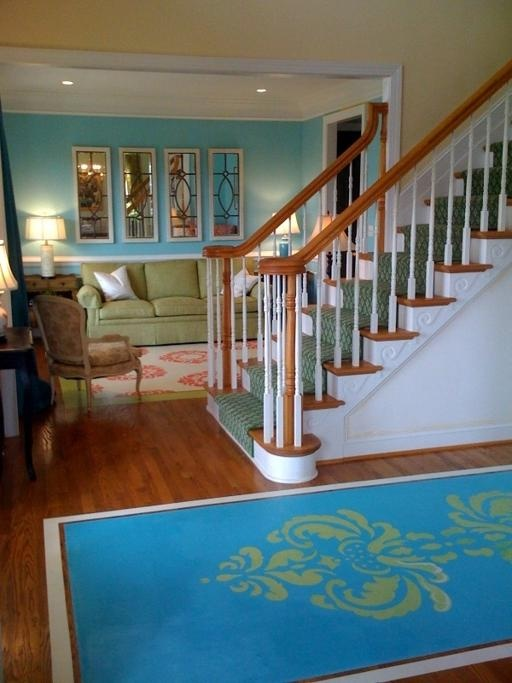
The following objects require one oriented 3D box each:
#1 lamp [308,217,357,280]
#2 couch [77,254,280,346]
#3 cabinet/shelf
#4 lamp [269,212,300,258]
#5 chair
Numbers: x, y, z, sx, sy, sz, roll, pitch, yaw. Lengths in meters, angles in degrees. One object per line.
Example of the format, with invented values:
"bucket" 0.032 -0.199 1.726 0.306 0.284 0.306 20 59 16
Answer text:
"lamp" 0.823 -1.022 6.441 0.450 0.610 0.448 3 20 19
"couch" -1.051 -0.534 7.199 2.389 1.115 1.053 -5 11 -15
"cabinet/shelf" -2.643 -0.416 7.001 0.778 0.713 0.453 -2 -19 -6
"lamp" 0.426 -1.521 7.693 0.522 0.643 0.520 4 3 34
"chair" -1.405 0.063 4.497 0.588 0.910 0.714 4 8 38
